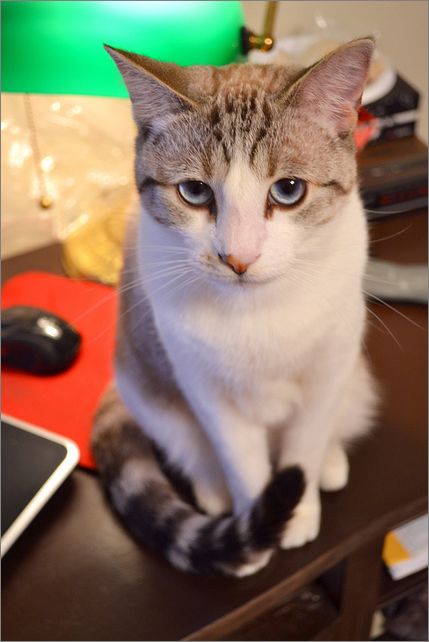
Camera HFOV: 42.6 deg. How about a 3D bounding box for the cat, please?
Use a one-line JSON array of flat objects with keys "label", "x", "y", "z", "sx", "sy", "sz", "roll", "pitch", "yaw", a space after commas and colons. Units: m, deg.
[{"label": "cat", "x": 0.015, "y": -0.008, "z": 0.442, "sx": 0.247, "sy": 0.389, "sz": 0.233, "roll": 18, "pitch": 38, "yaw": 20}]
